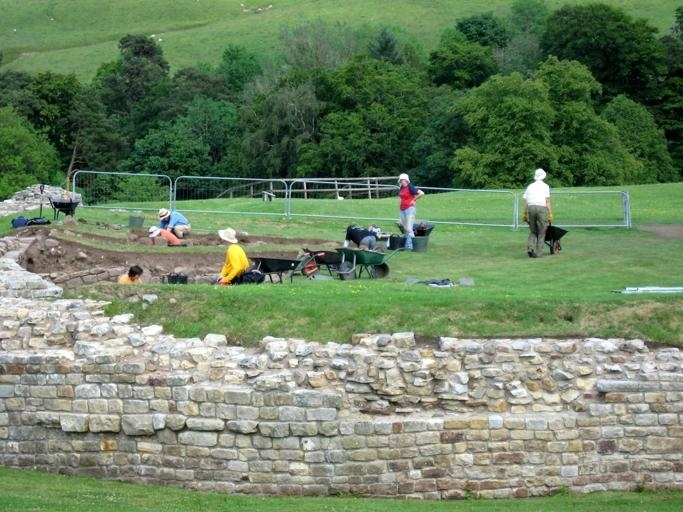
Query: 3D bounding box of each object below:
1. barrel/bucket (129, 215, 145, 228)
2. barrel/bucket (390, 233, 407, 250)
[{"bbox_3d":[-18.594,-3.171,162.176,1.234,1.099,1.130,-1,9,0],"label":"barrel/bucket"},{"bbox_3d":[4.482,-1.175,158.574,2.193,1.449,1.159,0,-1,-21],"label":"barrel/bucket"}]
